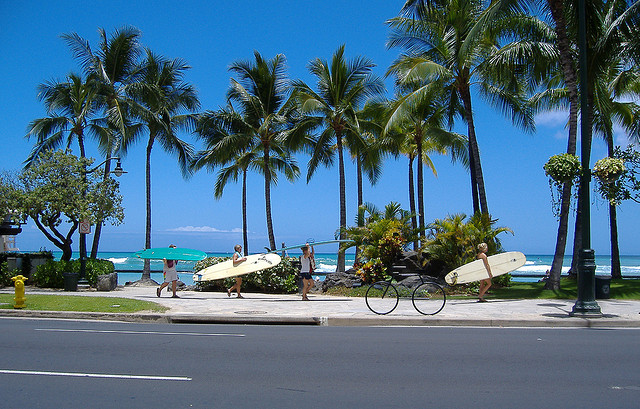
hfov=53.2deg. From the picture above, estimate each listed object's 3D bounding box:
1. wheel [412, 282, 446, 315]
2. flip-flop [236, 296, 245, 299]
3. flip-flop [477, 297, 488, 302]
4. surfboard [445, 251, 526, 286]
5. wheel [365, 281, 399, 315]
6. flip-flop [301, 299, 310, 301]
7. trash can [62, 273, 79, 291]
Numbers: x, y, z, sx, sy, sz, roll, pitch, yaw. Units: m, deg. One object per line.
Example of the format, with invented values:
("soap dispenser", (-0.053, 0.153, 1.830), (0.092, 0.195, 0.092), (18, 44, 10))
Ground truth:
("wheel", (4.185, 3.637, 24.412), (1.294, 1.340, 0.047), (0, 11, 6))
("flip-flop", (-3.654, 4.263, 29.261), (0.378, 0.163, 0.117), (-1, -2, 6))
("flip-flop", (6.991, 4.079, 27.381), (0.563, 0.231, 0.175), (8, -5, -3))
("surfboard", (7.176, 2.697, 27.236), (3.210, 1.248, 1.455), (4, -8, -35))
("wheel", (2.436, 3.678, 24.780), (1.157, 1.195, 0.044), (3, -5, 9))
("flip-flop", (-0.610, 4.238, 28.279), (0.392, 0.058, 0.228), (1, -7, -16))
("trash can", (-12.392, 3.852, 31.701), (0.776, 0.773, 0.787), (0, -3, -9))
